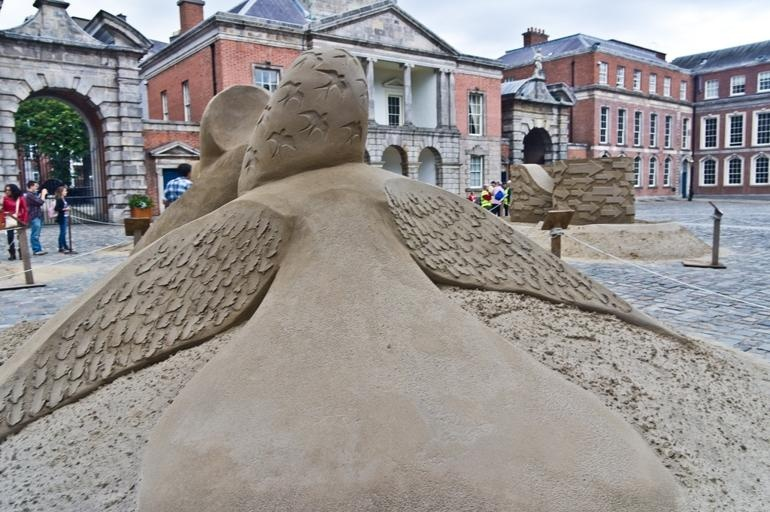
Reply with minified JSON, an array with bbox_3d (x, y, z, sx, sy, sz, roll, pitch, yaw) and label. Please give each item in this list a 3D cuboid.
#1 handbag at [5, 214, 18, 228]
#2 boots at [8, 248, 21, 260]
[{"bbox_3d":[-5.322,-0.490,8.503,0.159,0.177,0.403,-5,7,-30],"label":"handbag"},{"bbox_3d":[-7.171,-0.029,11.562,0.170,0.285,0.474,-5,14,-34],"label":"boots"}]
